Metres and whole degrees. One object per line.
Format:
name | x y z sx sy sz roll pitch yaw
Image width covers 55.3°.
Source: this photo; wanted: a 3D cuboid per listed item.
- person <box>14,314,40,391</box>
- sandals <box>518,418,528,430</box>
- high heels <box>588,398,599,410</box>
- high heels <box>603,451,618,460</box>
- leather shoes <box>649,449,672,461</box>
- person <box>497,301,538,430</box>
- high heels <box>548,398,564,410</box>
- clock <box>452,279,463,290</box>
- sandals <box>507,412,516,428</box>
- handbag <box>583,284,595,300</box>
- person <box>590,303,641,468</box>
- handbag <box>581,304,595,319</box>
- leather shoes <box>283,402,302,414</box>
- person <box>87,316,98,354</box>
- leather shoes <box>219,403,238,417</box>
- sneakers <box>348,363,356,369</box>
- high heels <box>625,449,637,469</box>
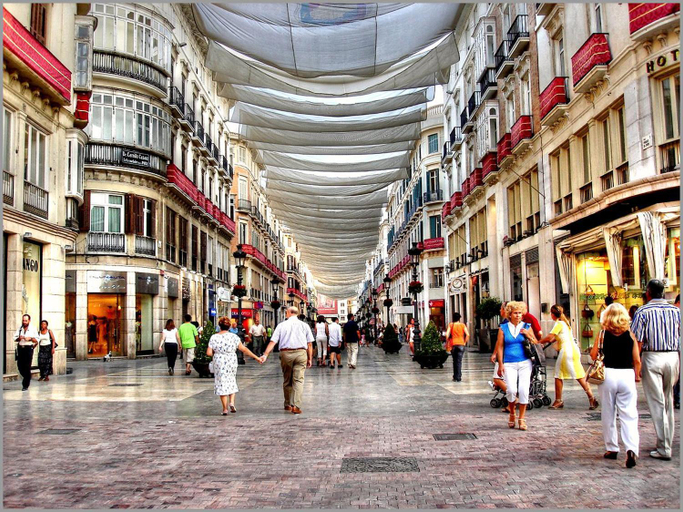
person | -8.531 2.600 17.556 0.498 2.108 0.878 4 -13 -27
sandals | 3.055 2.875 10.964 0.108 0.131 0.327 -2 -13 4
high heels | 4.963 2.962 12.809 0.128 0.191 0.444 -4 -19 12
high heels | 3.668 2.752 8.920 0.169 0.107 0.206 -7 -13 21
leather shoes | 4.355 2.747 8.897 0.202 0.099 0.107 9 7 43
person | 3.051 1.932 11.427 0.651 2.167 0.921 -5 -12 15
high heels | 4.270 2.986 12.933 0.367 0.162 0.140 14 -19 -38
clock | 6.587 1.567 37.169 0.539 0.514 0.671 -7 -13 21
sandals | 2.921 2.837 11.169 0.134 0.272 0.503 -5 -13 14
handbag | 8.851 1.265 23.303 0.336 0.671 0.354 1 -4 7
person | 3.818 1.752 8.952 0.445 2.205 0.570 3 -12 -21
handbag | 8.741 2.025 23.123 0.402 0.437 0.266 0 -4 21
leather shoes | -0.996 3.074 13.049 0.160 0.201 0.462 0 -5 7
person | -12.094 3.870 31.645 0.235 1.922 0.529 -12 -16 42
leather shoes | -2.256 3.099 12.995 0.158 0.200 0.450 0 -4 6
sneakers | 0.356 4.261 24.944 0.158 0.200 0.293 4 -10 -36
high heels | 3.776 2.671 8.498 0.152 0.232 0.113 -1 -12 -6
